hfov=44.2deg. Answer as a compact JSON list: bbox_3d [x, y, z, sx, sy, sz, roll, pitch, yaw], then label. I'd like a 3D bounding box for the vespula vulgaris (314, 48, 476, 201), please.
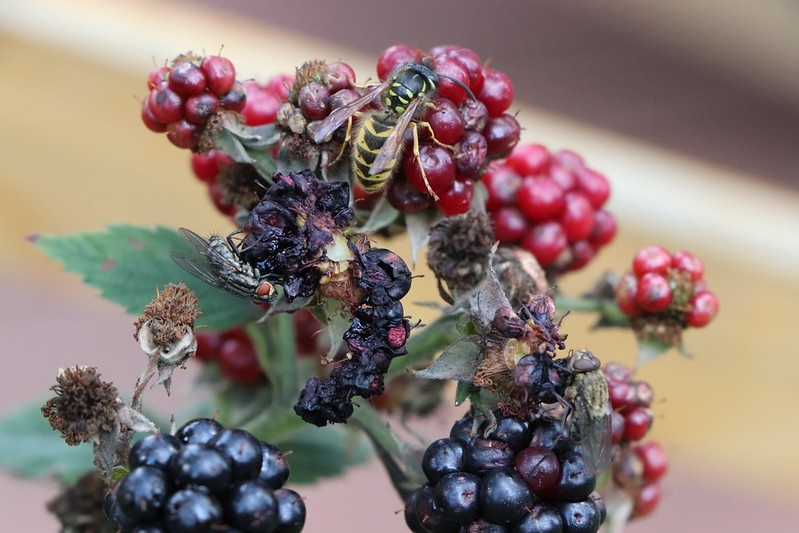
[{"bbox_3d":[-0.041,-0.328,2.399,0.396,0.428,0.153,15,44,-28],"label":"vespula vulgaris"}]

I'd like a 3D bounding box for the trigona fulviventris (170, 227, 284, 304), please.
[{"bbox_3d":[-0.414,-0.004,2.430,0.315,0.135,0.132,36,19,28],"label":"trigona fulviventris"}]
